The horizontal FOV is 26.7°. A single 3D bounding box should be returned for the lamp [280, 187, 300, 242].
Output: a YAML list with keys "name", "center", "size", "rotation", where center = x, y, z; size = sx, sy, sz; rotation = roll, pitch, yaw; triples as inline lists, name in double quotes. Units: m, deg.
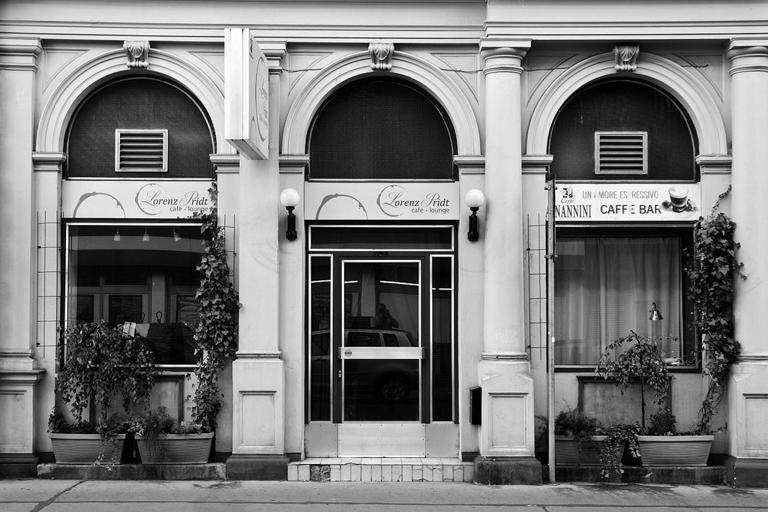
- name: "lamp"
  center: [-1.572, -0.667, 26.629]
  size: [0.309, 0.838, 0.380]
  rotation: [0, -6, -4]

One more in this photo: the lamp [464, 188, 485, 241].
- name: "lamp"
  center: [1.478, -0.654, 26.623]
  size: [0.321, 0.820, 0.488]
  rotation: [0, -6, 2]

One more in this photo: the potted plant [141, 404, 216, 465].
- name: "potted plant"
  center: [-3.324, 3.109, 26.927]
  size: [1.405, 0.672, 1.182]
  rotation: [-3, -7, 17]

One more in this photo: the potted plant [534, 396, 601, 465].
- name: "potted plant"
  center: [3.019, 2.874, 26.860]
  size: [1.397, 0.931, 0.751]
  rotation: [-1, -6, 5]

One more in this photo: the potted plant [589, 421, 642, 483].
- name: "potted plant"
  center: [3.749, 3.263, 26.714]
  size: [0.944, 1.000, 0.801]
  rotation: [0, -4, -12]

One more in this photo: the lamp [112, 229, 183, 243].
- name: "lamp"
  center: [-3.969, -0.334, 27.024]
  size: [1.137, 0.202, 0.080]
  rotation: [-1, -6, 3]
